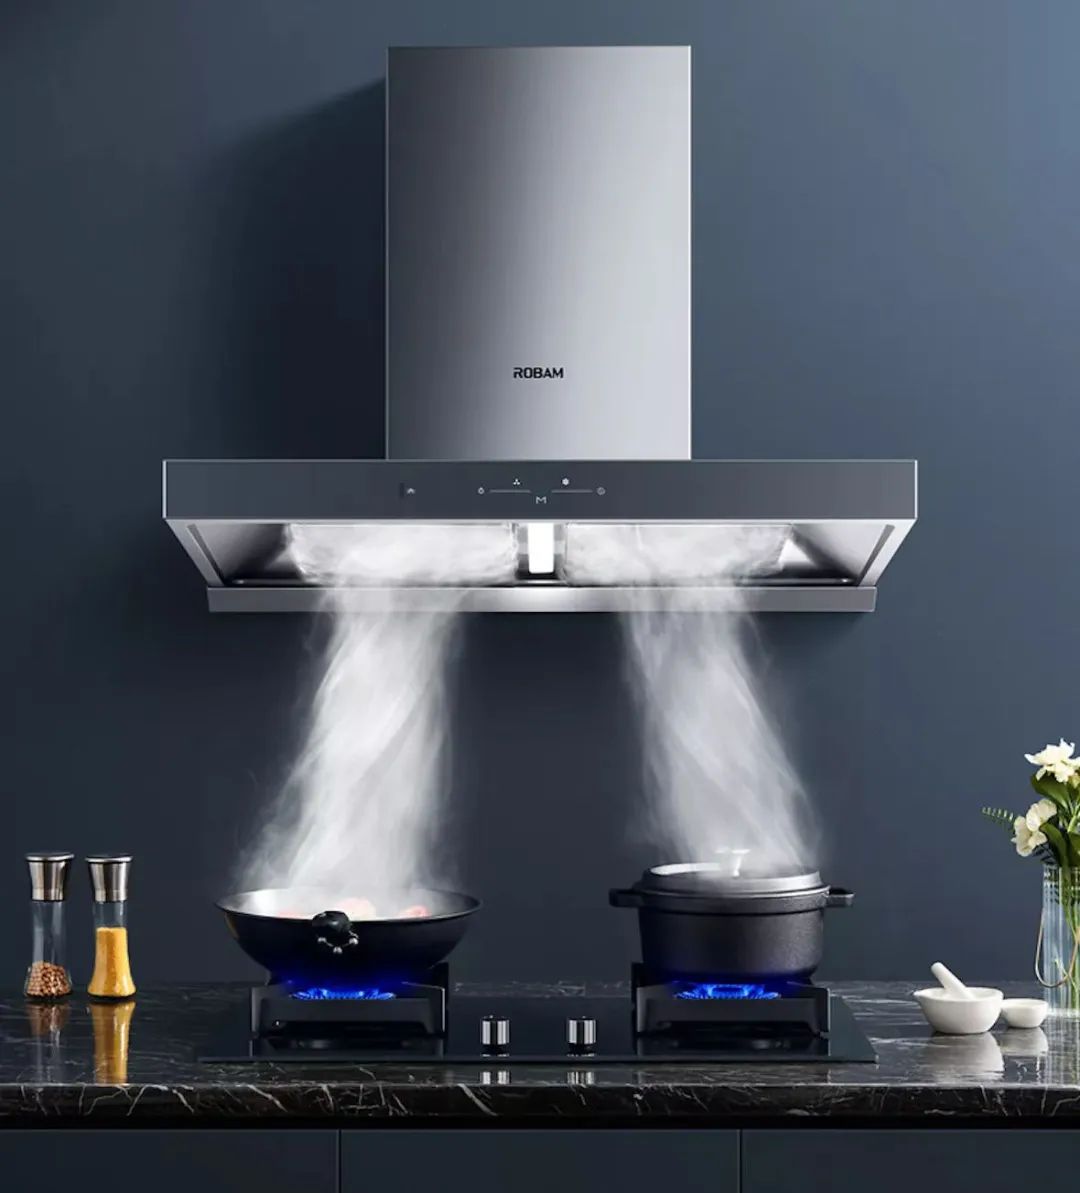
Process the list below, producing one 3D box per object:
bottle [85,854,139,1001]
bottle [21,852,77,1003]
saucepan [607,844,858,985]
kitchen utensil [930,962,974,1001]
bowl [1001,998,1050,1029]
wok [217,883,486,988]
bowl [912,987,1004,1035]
[{"bbox_3d":[-0.680,0.530,4.026,0.071,0.223,0.158,0,-3,-9],"label":"bottle"},{"bbox_3d":[-0.776,0.527,4.007,0.070,0.227,0.116,0,-3,-12],"label":"bottle"},{"bbox_3d":[0.269,0.499,3.798,0.326,0.162,0.123,-1,-3,2],"label":"saucepan"},{"bbox_3d":[0.645,0.607,3.962,0.021,0.081,0.026,-26,-23,-38],"label":"kitchen utensil"},{"bbox_3d":[0.728,0.634,3.811,0.064,0.041,0.055,-1,-3,11],"label":"bowl"},{"bbox_3d":[-0.291,0.535,3.921,0.406,0.145,0.436,2,1,7],"label":"wok"},{"bbox_3d":[0.635,0.629,3.829,0.127,0.061,0.184,-1,-4,11],"label":"bowl"}]
